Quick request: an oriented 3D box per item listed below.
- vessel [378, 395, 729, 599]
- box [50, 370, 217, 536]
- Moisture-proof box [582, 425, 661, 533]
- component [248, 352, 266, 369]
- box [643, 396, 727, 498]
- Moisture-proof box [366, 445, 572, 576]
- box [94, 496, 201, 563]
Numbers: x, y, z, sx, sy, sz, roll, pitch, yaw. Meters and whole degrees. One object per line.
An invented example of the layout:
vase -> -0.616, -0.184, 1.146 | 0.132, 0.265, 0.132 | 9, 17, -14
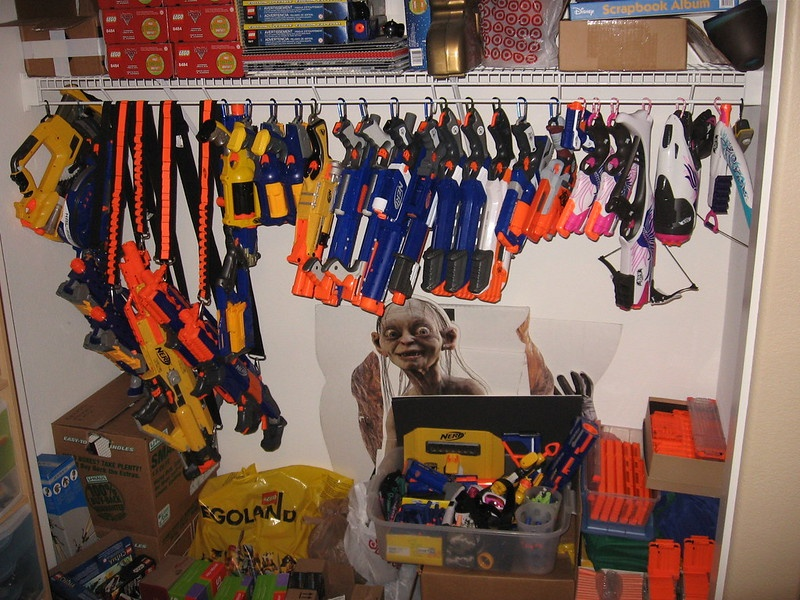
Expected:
vessel -> 0.467, 0.833, 2.653 | 1.089, 0.395, 0.711 | 1, 20, 9
box -> -1.251, 0.752, 3.220 | 0.499, 0.724, 0.699 | 2, 14, 13
Moisture-proof box -> 0.832, 0.675, 2.455 | 0.214, 0.131, 0.330 | 2, 42, 13
component -> -0.660, 0.280, 2.958 | 0.056, 0.105, 0.032 | 3, 40, 6
box -> 1.075, 0.483, 2.405 | 0.261, 0.127, 0.384 | 2, 33, 12
Moisture-proof box -> 0.256, 0.811, 2.487 | 0.520, 0.170, 0.407 | 2, 16, 10
box -> -1.169, 0.958, 2.970 | 0.221, 0.297, 0.427 | 1, 9, 18
